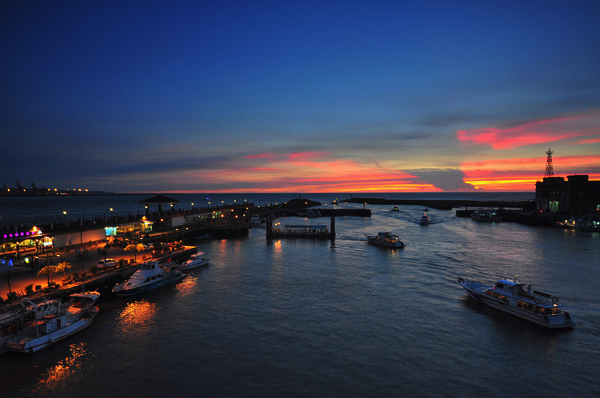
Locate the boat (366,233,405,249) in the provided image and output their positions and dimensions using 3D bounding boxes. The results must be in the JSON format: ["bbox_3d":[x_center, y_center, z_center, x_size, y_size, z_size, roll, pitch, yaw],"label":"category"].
[{"bbox_3d":[16.886,8.286,89.232,2.964,2.146,8.030,-3,9,-33],"label":"boat"}]

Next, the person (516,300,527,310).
[{"bbox_3d":[26.418,12.566,52.947,0.847,0.838,1.041,7,-4,0],"label":"person"}]

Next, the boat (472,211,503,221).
[{"bbox_3d":[57.923,5.479,137.989,7.210,2.845,7.943,0,9,4],"label":"boat"}]
